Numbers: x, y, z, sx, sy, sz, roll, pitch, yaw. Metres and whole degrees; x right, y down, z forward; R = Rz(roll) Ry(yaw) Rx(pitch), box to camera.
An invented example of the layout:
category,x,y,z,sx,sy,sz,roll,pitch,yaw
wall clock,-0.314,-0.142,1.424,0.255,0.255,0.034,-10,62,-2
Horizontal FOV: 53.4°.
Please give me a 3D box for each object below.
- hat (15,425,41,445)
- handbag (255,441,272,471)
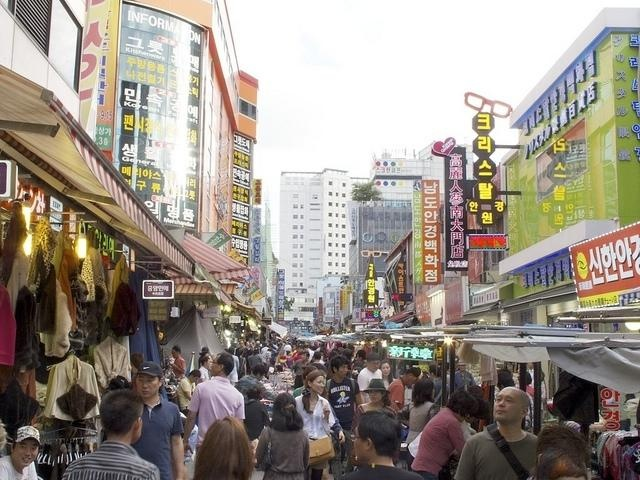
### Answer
category,x,y,z,sx,sy,sz,roll,pitch,yaw
hat,-2.978,1.950,6.471,0.163,0.232,0.227,5,-38,-23
handbag,-0.672,2.560,7.578,0.123,0.340,0.252,23,-16,-17
